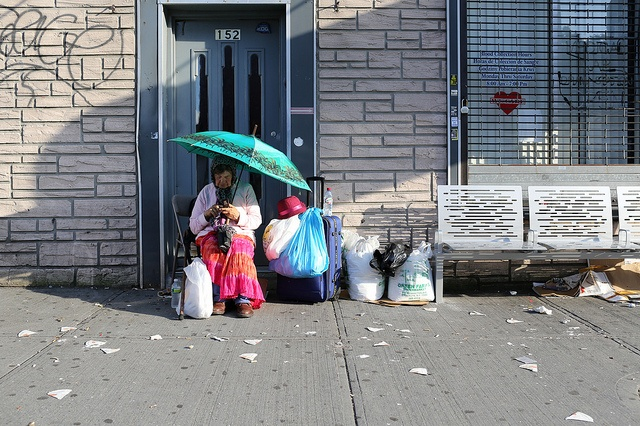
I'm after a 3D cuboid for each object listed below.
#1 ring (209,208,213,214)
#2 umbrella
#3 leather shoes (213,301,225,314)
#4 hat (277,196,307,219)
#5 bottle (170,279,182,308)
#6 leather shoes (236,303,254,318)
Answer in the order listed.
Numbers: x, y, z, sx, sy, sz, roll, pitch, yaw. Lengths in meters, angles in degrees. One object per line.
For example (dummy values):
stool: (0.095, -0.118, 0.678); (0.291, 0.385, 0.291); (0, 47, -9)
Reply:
ring: (-1.273, -0.015, 7.212); (0.073, 0.063, 0.018); (1, 0, 30)
umbrella: (-0.827, -0.594, 6.973); (1.380, 0.670, 0.584); (0, 5, -2)
leather shoes: (-1.160, 1.093, 7.072); (0.142, 0.092, 0.262); (1, -6, -2)
hat: (-0.353, -0.065, 7.481); (0.307, 0.152, 0.259); (-18, 18, 30)
bottle: (-1.698, 0.957, 7.299); (0.114, 0.333, 0.303); (-2, 6, -24)
leather shoes: (-0.850, 1.112, 7.001); (0.151, 0.108, 0.308); (0, -3, -11)
